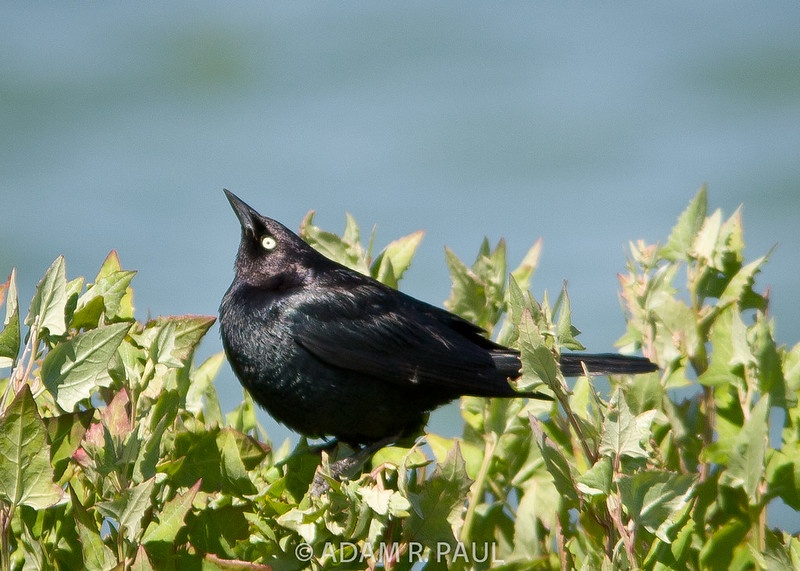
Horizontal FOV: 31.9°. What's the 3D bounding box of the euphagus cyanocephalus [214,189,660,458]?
[{"bbox_3d":[0.109,0.114,4.470,1.385,0.833,0.522,2,-5,-14],"label":"euphagus cyanocephalus"}]
